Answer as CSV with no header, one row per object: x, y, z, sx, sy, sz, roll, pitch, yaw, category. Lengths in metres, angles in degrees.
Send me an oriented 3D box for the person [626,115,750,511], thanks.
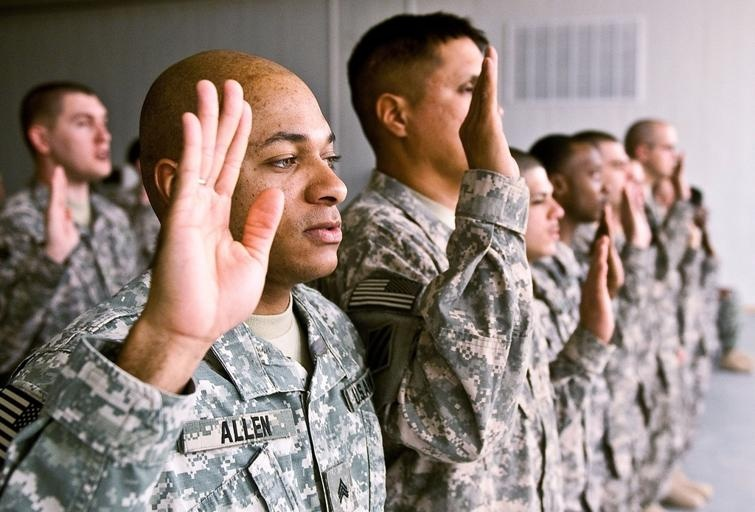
1.053,0.218,3.189,0.427,1.422,0.184,6,9,22,person
